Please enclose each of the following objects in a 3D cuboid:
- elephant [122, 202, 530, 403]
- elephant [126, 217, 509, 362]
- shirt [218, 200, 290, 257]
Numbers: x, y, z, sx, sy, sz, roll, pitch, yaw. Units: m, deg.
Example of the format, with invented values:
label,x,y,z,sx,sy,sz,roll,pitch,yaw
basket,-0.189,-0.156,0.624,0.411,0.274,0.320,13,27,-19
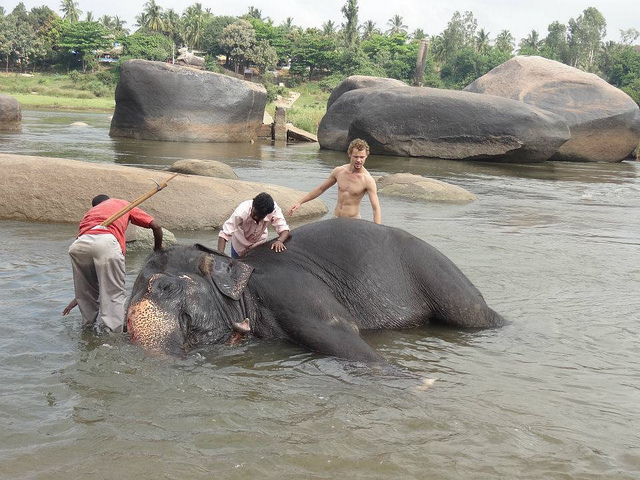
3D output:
label,x,y,z,sx,sy,sz,roll,pitch,yaw
elephant,0.050,0.535,6.539,3.747,1.300,1.205,-10,8,-7
elephant,-0.240,0.527,6.483,2.688,1.341,1.126,0,49,-25
shirt,-0.660,0.030,7.230,0.778,0.862,0.636,2,18,-7
